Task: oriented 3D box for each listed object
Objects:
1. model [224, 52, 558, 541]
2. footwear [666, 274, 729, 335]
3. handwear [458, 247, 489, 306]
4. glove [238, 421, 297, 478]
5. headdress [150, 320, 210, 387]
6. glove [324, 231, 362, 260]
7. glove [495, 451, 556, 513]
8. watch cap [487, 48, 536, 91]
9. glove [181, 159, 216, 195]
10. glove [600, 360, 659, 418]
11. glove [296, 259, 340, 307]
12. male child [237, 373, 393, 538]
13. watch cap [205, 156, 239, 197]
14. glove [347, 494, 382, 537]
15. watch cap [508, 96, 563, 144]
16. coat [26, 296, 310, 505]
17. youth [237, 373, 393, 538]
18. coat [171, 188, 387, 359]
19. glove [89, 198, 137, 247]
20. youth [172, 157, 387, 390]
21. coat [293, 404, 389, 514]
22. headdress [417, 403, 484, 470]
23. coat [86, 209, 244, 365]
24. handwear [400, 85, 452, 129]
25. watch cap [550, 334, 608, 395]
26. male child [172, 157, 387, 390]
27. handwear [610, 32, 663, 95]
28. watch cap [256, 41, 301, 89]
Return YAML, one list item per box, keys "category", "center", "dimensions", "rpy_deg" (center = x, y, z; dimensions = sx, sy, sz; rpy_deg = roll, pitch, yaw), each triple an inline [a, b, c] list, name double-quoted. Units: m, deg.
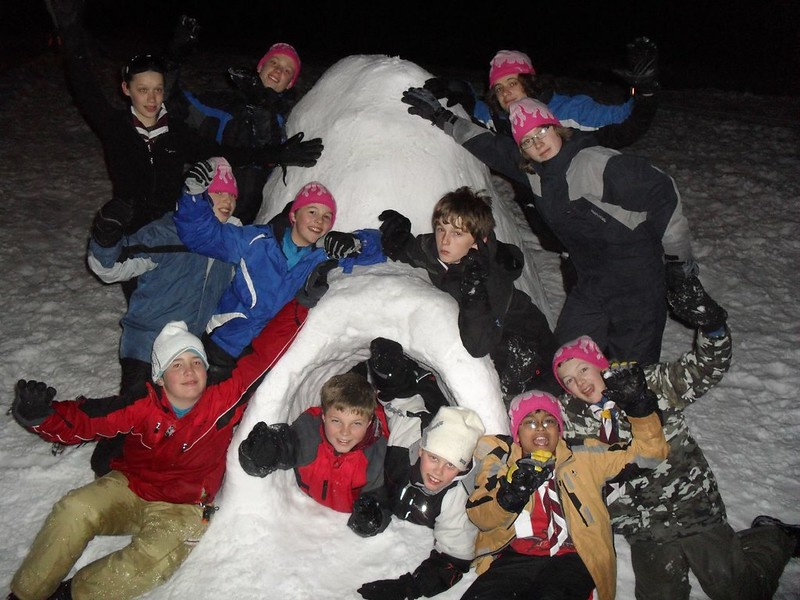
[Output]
- category: "model"
  center: [-0.114, -0.364, 5.605]
  dimensions: [2.270, 3.278, 2.553]
  rpy_deg: [-2, -5, -5]
- category: "footwear"
  center: [1.733, 0.012, 4.009]
  dimensions: [0.307, 0.180, 0.431]
  rpy_deg: [-10, 50, -8]
- category: "handwear"
  center: [0.411, -0.133, 3.804]
  dimensions: [0.175, 0.292, 0.072]
  rpy_deg: [-2, -14, 9]
- category: "glove"
  center: [-0.729, 0.807, 3.781]
  dimensions: [0.341, 0.258, 0.123]
  rpy_deg: [-40, 16, -25]
- category: "headdress"
  center: [-1.225, 0.280, 3.788]
  dimensions: [0.266, 0.232, 0.356]
  rpy_deg: [-3, 25, -23]
- category: "glove"
  center: [-0.333, -0.305, 3.888]
  dimensions: [0.211, 0.148, 0.101]
  rpy_deg: [8, 13, -12]
- category: "glove"
  center: [0.723, 0.923, 3.652]
  dimensions: [0.310, 0.132, 0.164]
  rpy_deg: [-11, 57, -29]
- category: "watch cap"
  center: [0.779, -1.598, 4.734]
  dimensions: [0.272, 0.180, 0.267]
  rpy_deg: [-5, -18, 12]
- category: "glove"
  center: [-1.103, -0.671, 3.725]
  dimensions: [0.213, 0.126, 0.084]
  rpy_deg: [-27, -8, 16]
- category: "glove"
  center: [1.214, 0.469, 3.695]
  dimensions: [0.260, 0.301, 0.145]
  rpy_deg: [-34, 17, -7]
- category: "glove"
  center: [-0.476, -0.076, 3.869]
  dimensions: [0.159, 0.278, 0.103]
  rpy_deg: [27, -8, 36]
- category: "male child"
  center: [-0.480, 0.958, 4.007]
  dimensions: [0.950, 1.102, 0.839]
  rpy_deg: [7, 43, -9]
- category: "watch cap"
  center: [-1.012, -0.726, 3.960]
  dimensions: [0.162, 0.173, 0.221]
  rpy_deg: [12, -15, -6]
- category: "glove"
  center: [-0.206, 1.255, 3.942]
  dimensions: [0.207, 0.091, 0.262]
  rpy_deg: [14, 36, -6]
- category: "watch cap"
  center: [0.834, -1.114, 4.212]
  dimensions: [0.210, 0.246, 0.283]
  rpy_deg: [49, 17, -5]
- category: "coat"
  center: [-1.308, 0.626, 3.951]
  dimensions: [1.297, 0.922, 0.370]
  rpy_deg: [2, 10, -14]
- category: "youth"
  center: [-0.505, 0.913, 3.918]
  dimensions: [0.675, 0.747, 0.527]
  rpy_deg: [24, 54, -2]
- category: "coat"
  center: [-0.690, -0.134, 3.952]
  dimensions: [0.922, 0.722, 0.233]
  rpy_deg: [24, 15, -29]
- category: "glove"
  center: [-1.631, -0.498, 3.899]
  dimensions: [0.219, 0.327, 0.167]
  rpy_deg: [-2, 49, -42]
- category: "youth"
  center: [-0.694, -0.112, 3.974]
  dimensions: [0.838, 1.410, 0.502]
  rpy_deg: [40, 16, -32]
- category: "coat"
  center: [-0.342, 0.925, 3.985]
  dimensions: [0.617, 0.533, 0.307]
  rpy_deg: [8, 24, -5]
- category: "headdress"
  center: [0.289, 0.759, 3.738]
  dimensions: [0.327, 0.316, 0.167]
  rpy_deg: [13, 12, 8]
- category: "coat"
  center: [-1.400, -0.087, 4.130]
  dimensions: [0.353, 0.616, 1.073]
  rpy_deg: [20, 1, 41]
- category: "handwear"
  center: [0.159, -1.259, 4.475]
  dimensions: [0.331, 0.216, 0.121]
  rpy_deg: [45, -14, 3]
- category: "watch cap"
  center: [1.110, 0.385, 4.087]
  dimensions: [0.302, 0.321, 0.367]
  rpy_deg: [-8, 11, 23]
- category: "male child"
  center: [-0.694, -0.112, 3.974]
  dimensions: [0.838, 1.410, 0.502]
  rpy_deg: [40, 16, -32]
- category: "handwear"
  center: [1.588, -1.572, 4.530]
  dimensions: [0.190, 0.318, 0.469]
  rpy_deg: [-39, 29, -20]
- category: "watch cap"
  center: [-0.855, -1.748, 5.053]
  dimensions: [0.318, 0.360, 0.400]
  rpy_deg: [4, 6, 9]
